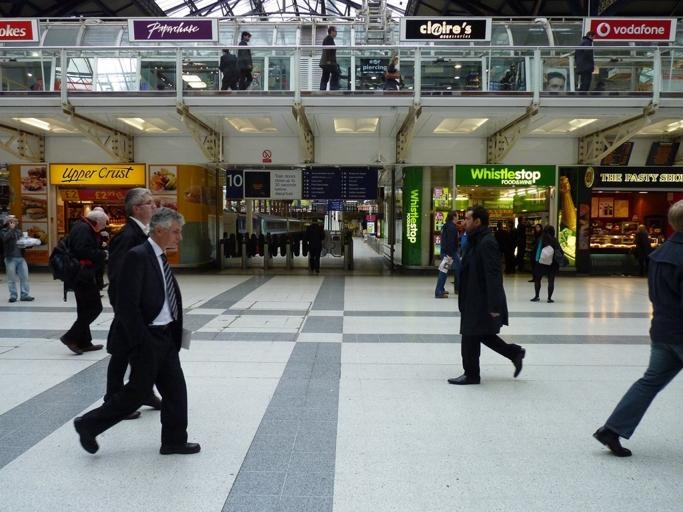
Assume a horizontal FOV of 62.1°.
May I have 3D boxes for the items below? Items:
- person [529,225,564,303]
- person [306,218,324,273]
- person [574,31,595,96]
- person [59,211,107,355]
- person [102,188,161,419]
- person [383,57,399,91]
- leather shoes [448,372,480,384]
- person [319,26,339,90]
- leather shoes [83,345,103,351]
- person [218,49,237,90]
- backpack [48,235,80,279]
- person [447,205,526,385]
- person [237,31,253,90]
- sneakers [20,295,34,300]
[{"bbox_3d":[4.428,0.159,12.062,0.562,1.634,0.795,4,12,19],"label":"person"},{"bbox_3d":[-0.808,-0.313,17.879,0.492,1.678,0.907,-1,12,-4],"label":"person"},{"bbox_3d":[5.863,-4.636,13.592,0.386,1.388,0.461,9,14,36],"label":"person"},{"bbox_3d":[-3.438,0.328,7.729,0.848,1.961,0.719,1,-4,-30],"label":"person"},{"bbox_3d":[-2.126,0.501,6.053,0.792,2.347,0.809,4,7,0],"label":"person"},{"bbox_3d":[1.239,-4.413,13.684,0.379,0.757,0.209,1,12,4],"label":"person"},{"bbox_3d":[1.448,1.445,6.667,0.373,0.148,0.138,2,-5,1],"label":"leather shoes"},{"bbox_3d":[-0.272,-4.762,13.713,0.482,1.494,0.617,0,12,1],"label":"person"},{"bbox_3d":[-3.406,1.245,7.737,0.214,0.089,0.071,-2,6,-20],"label":"leather shoes"},{"bbox_3d":[-2.738,-4.525,13.728,0.424,0.944,0.198,-2,12,-9],"label":"person"},{"bbox_3d":[-3.690,0.005,7.575,0.440,0.578,0.245,5,-11,18],"label":"backpack"},{"bbox_3d":[1.692,0.472,6.565,0.789,2.044,0.633,2,12,11],"label":"person"},{"bbox_3d":[-2.325,-4.531,13.750,0.374,0.947,0.213,-2,12,-10],"label":"person"},{"bbox_3d":[-6.447,0.850,11.631,0.203,0.082,0.106,0,1,-10],"label":"sneakers"}]
